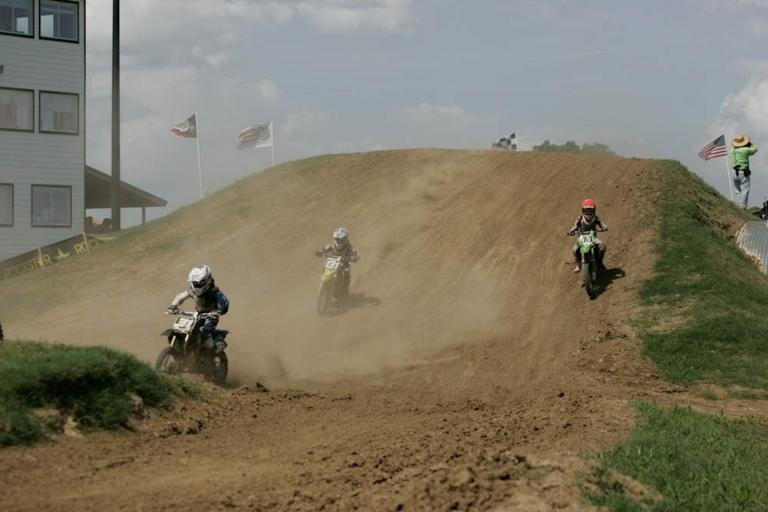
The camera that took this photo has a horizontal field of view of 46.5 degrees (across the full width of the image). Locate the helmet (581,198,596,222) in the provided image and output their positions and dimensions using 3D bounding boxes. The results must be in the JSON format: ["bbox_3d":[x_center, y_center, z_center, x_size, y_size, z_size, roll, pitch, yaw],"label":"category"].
[{"bbox_3d":[6.375,-1.447,27.866,0.399,0.602,0.637,-3,7,9],"label":"helmet"}]

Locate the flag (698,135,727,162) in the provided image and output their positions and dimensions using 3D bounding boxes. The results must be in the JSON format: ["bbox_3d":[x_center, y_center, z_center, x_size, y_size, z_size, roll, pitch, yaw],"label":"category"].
[{"bbox_3d":[13.209,-4.368,35.835,0.853,0.870,0.901,-2,7,16],"label":"flag"}]

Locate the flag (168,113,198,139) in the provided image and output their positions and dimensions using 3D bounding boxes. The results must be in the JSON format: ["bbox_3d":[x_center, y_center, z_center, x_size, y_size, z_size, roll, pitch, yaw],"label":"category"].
[{"bbox_3d":[-9.047,-6.006,40.900,0.860,0.969,0.990,-4,7,-2],"label":"flag"}]

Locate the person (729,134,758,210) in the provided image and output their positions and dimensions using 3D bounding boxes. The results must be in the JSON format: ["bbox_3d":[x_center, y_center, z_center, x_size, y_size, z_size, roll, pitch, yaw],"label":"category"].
[{"bbox_3d":[13.916,-3.251,34.783,0.840,2.802,1.116,-1,7,19],"label":"person"}]

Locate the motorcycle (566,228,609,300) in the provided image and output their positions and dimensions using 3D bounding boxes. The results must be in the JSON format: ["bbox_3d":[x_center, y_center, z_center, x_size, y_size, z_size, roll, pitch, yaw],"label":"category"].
[{"bbox_3d":[6.322,0.229,27.521,0.719,2.083,0.924,-3,6,9],"label":"motorcycle"}]

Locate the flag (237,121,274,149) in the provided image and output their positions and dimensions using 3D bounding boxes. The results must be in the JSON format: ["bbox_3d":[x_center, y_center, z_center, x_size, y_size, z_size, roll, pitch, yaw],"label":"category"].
[{"bbox_3d":[-5.746,-5.473,40.341,1.376,0.980,1.927,-5,7,-12],"label":"flag"}]
